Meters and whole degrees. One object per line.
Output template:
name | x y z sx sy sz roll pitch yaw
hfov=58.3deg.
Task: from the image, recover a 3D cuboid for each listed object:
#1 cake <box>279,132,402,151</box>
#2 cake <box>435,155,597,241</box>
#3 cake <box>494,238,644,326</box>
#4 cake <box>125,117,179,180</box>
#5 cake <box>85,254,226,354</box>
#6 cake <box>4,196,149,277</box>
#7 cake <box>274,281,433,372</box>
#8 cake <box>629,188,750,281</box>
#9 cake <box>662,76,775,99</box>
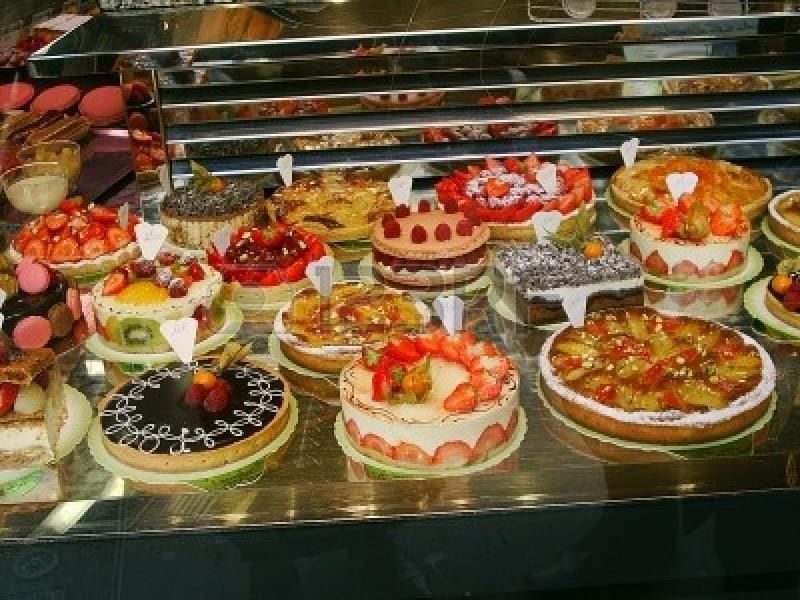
cake | -0.292 -0.856 3.855 0.581 0.103 0.095 -6 26 -5
cake | 0.613 -0.559 3.789 0.779 0.156 0.624 7 26 17
cake | 0.701 -0.119 3.208 0.618 0.145 0.458 -6 27 -12
cake | -1.289 -0.791 3.704 0.101 0.258 0.237 -36 -7 25
cake | -1.054 -0.005 3.110 0.629 0.236 0.480 -3 23 -7
cake | -1.637 -0.314 3.661 0.603 0.151 0.592 25 39 33
cake | -0.199 0.100 3.056 0.561 0.112 0.419 1 29 2
cake | 1.365 -0.292 3.382 0.564 0.252 0.540 -24 33 -35
cake | 1.639 -1.126 3.731 0.563 0.098 0.067 -4 28 2
